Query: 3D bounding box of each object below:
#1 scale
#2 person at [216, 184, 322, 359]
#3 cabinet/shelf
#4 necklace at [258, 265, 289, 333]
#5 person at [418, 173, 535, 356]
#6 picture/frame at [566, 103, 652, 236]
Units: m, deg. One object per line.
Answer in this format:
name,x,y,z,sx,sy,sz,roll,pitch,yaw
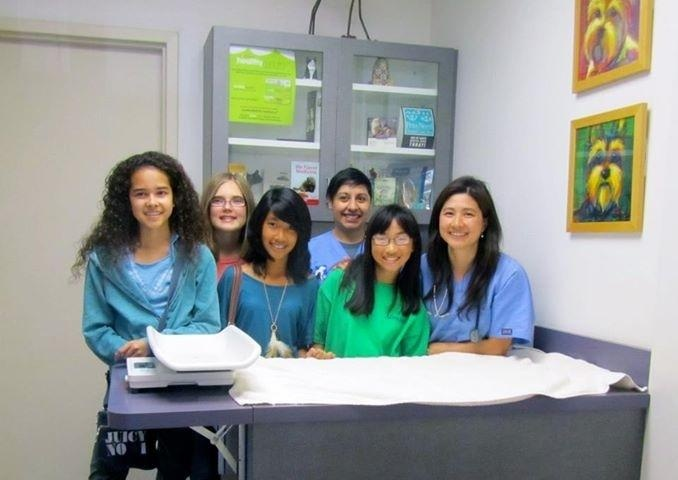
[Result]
scale,-0.501,0.393,1.885,0.293,0.129,0.263,0,11,-16
person,-0.296,0.340,2.526,0.419,1.183,0.313,-1,18,-19
cabinet/shelf,-0.039,-0.614,3.377,1.392,1.014,0.356,0,6,-15
necklace,-0.264,0.279,2.391,0.106,0.192,0.115,-2,10,-6
person,0.533,0.141,2.505,0.555,0.838,0.414,12,23,38
picture/frame,1.064,-0.279,2.279,0.086,0.498,0.355,-6,11,-26
